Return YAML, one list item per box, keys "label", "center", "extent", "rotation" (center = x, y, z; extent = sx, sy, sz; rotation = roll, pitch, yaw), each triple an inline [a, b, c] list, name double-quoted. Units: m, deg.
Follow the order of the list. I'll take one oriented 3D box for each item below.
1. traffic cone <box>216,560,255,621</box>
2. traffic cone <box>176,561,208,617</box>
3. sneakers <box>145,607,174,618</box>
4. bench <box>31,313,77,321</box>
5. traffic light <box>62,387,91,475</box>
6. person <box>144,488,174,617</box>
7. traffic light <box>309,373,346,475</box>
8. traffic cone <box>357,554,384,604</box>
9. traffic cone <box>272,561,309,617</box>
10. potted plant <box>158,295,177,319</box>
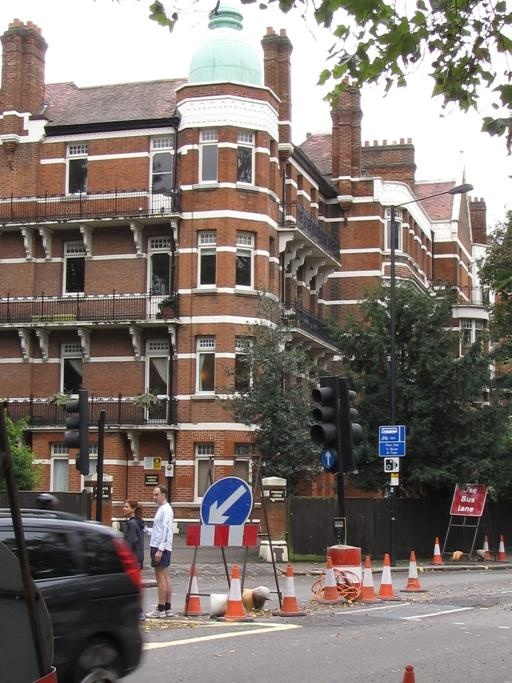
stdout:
- label: "traffic cone"
  center: [-0.251, 2.973, 16.082]
  extent: [0.589, 0.826, 0.574]
  rotation: [-1, -2, 0]
- label: "traffic cone"
  center: [-0.804, 3.047, 16.465]
  extent: [0.570, 0.613, 0.596]
  rotation: [-1, -12, -6]
- label: "sneakers"
  center: [-1.151, 3.195, 15.838]
  extent: [0.323, 0.153, 0.122]
  rotation: [2, -12, 0]
- label: "bench"
  center: [-5.602, -0.627, 36.650]
  extent: [1.396, 0.257, 0.320]
  rotation: [-3, -7, 20]
- label: "traffic light"
  center: [-2.500, 1.239, 18.463]
  extent: [0.292, 1.196, 1.168]
  rotation: [1, -6, -10]
- label: "person"
  center: [-1.173, 2.510, 16.107]
  extent: [0.286, 1.522, 0.960]
  rotation: [0, -6, -4]
- label: "traffic light"
  center: [0.878, 1.044, 16.924]
  extent: [0.403, 1.211, 0.625]
  rotation: [-1, -6, 2]
- label: "traffic cone"
  center: [1.409, 3.236, 18.153]
  extent: [0.537, 0.751, 0.550]
  rotation: [-1, -12, -1]
- label: "traffic cone"
  center: [0.401, 3.050, 16.495]
  extent: [0.527, 0.598, 0.572]
  rotation: [4, -7, -35]
- label: "potted plant"
  center: [-2.355, -0.874, 35.629]
  extent: [0.541, 0.565, 0.524]
  rotation: [1, -8, -1]
